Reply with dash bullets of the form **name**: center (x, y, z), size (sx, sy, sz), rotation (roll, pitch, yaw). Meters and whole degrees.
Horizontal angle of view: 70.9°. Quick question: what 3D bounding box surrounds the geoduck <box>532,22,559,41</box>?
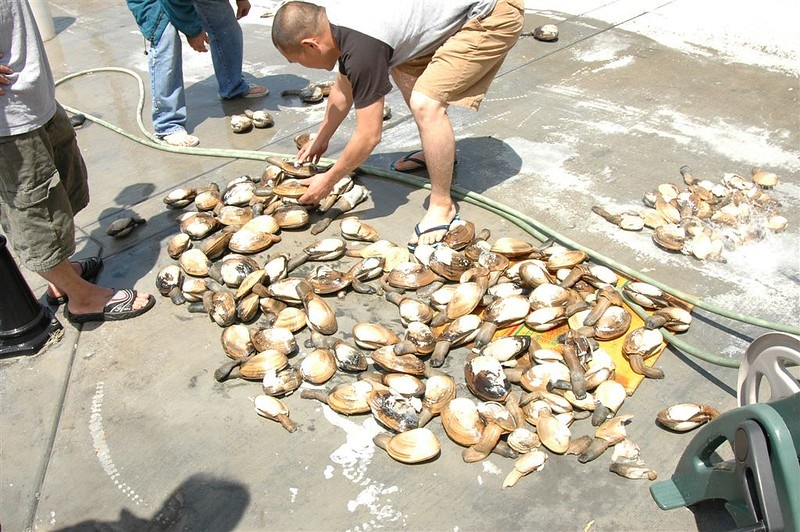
- **geoduck**: center (1.532, -2.440, 5.898), size (0.260, 0.064, 0.192), rotation (17, 49, 26)

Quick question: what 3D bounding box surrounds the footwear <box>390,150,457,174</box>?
- **footwear**: center (0.179, -0.792, 4.445), size (0.440, 0.093, 0.213), rotation (-4, 35, -5)

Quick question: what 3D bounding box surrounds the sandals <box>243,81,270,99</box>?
- **sandals**: center (-1.412, -1.706, 5.509), size (0.237, 0.093, 0.112), rotation (-14, 48, -8)

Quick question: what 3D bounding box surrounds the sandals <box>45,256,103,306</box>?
- **sandals**: center (-2.073, 0.056, 3.651), size (0.180, 0.178, 0.447), rotation (12, 45, 10)

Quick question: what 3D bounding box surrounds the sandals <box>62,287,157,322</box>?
- **sandals**: center (-1.763, 0.246, 3.411), size (0.435, 0.122, 0.211), rotation (-8, 43, -9)

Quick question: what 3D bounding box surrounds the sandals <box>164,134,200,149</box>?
- **sandals**: center (-1.899, -1.083, 4.873), size (0.250, 0.086, 0.126), rotation (5, 62, 5)

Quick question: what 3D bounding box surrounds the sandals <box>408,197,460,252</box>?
- **sandals**: center (0.269, -0.250, 3.747), size (0.426, 0.073, 0.201), rotation (-43, 63, -4)
